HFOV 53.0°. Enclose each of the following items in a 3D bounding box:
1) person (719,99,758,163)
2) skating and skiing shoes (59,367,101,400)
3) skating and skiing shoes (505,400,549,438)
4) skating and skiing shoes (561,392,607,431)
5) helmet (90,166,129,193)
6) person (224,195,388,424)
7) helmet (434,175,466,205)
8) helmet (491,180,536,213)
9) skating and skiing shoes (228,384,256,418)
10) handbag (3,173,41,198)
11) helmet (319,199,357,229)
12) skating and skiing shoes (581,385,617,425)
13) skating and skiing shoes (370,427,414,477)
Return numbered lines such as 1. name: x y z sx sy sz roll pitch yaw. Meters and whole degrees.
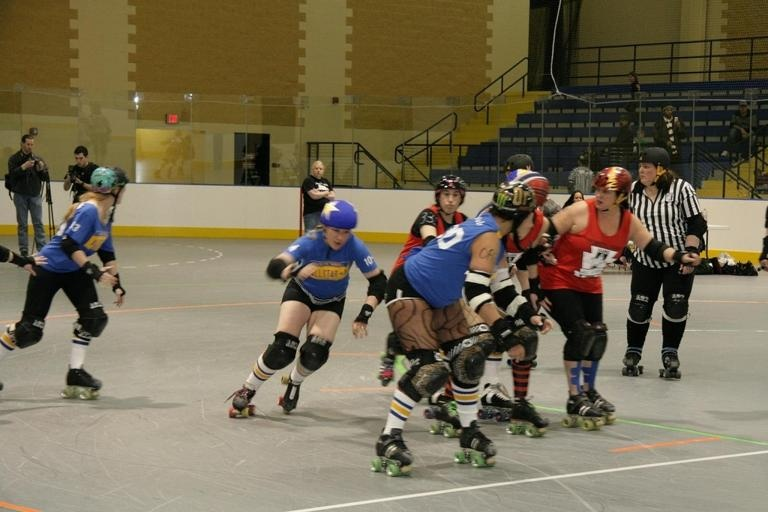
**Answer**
1. person: 7.729 -2.732 16.765 0.974 1.344 0.409 0 7 -40
2. skating and skiing shoes: -2.803 1.191 7.269 0.429 0.241 0.213 0 -2 0
3. skating and skiing shoes: 1.200 1.357 6.612 0.440 0.261 0.145 15 -5 -22
4. skating and skiing shoes: 1.781 1.340 6.751 0.267 0.274 0.402 1 -2 -31
5. helmet: -2.562 -0.703 7.253 0.351 0.269 0.244 -13 30 -17
6. person: -0.573 0.467 6.832 1.089 1.868 1.441 2 2 32
7. helmet: 0.612 -0.623 7.141 0.282 0.305 0.294 3 6 -1
8. helmet: 0.940 -0.442 5.749 0.299 0.239 0.212 8 5 -8
9. skating and skiing shoes: -1.289 1.269 6.913 0.195 0.249 0.373 33 3 -4
10. handbag: -7.238 -1.370 15.295 0.630 0.530 0.420 0 8 9
11. helmet: -0.377 -0.337 6.309 0.290 0.230 0.282 3 4 -6
12. skating and skiing shoes: 1.960 1.331 6.969 0.206 0.237 0.535 0 -3 -19
13. skating and skiing shoes: 0.069 1.461 5.814 0.309 0.334 0.232 3 5 -1
